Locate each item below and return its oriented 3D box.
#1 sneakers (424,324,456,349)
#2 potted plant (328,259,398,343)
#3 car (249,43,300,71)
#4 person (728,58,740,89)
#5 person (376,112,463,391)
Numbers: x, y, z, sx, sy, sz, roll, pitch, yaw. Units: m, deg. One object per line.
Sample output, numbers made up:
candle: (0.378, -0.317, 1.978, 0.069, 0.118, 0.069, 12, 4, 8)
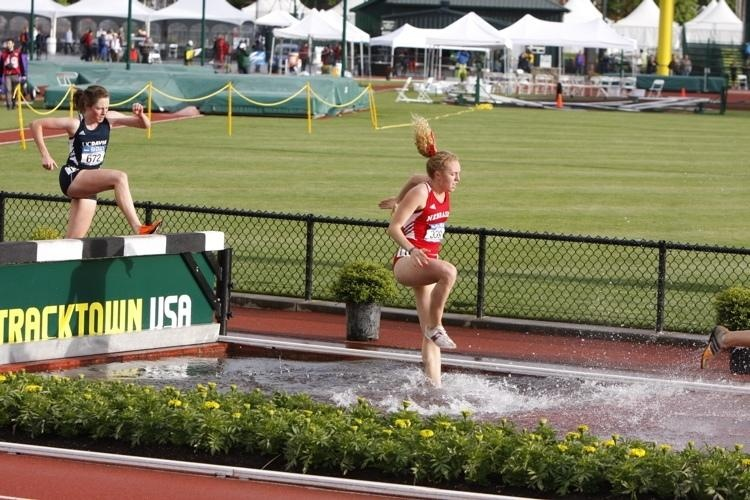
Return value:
sneakers: (0.833, 1.089, 17.175, 0.488, 0.219, 0.204, 24, 30, 31)
potted plant: (-0.217, 0.716, 19.699, 1.142, 1.200, 1.026, -1, 4, -34)
car: (-5.494, -10.416, 73.987, 2.755, 1.423, 3.762, 6, 13, 23)
person: (18.155, -8.740, 68.688, 0.408, 1.396, 2.113, 5, 16, 14)
person: (0.623, 0.121, 17.262, 0.872, 3.337, 1.129, 2, 15, 3)
